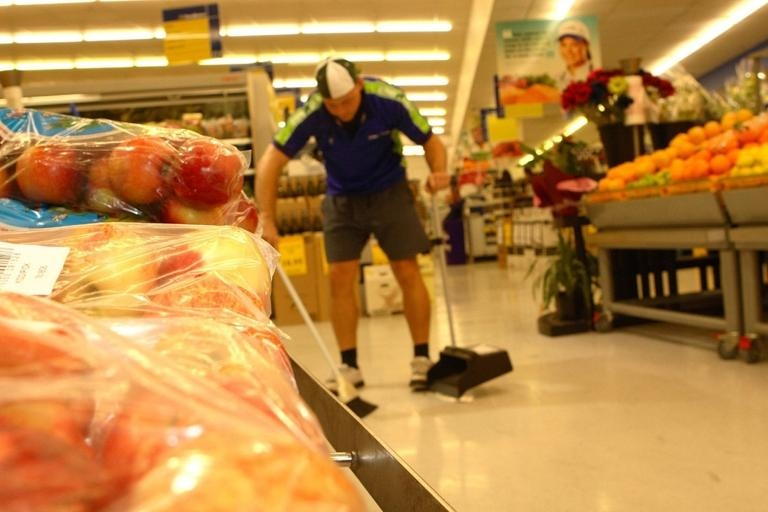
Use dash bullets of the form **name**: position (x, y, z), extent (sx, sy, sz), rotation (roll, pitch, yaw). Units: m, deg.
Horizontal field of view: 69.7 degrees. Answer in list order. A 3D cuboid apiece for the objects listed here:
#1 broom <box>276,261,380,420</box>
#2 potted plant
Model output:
- **broom**: position (-0.185, 0.273, 1.944), extent (0.098, 0.719, 0.168), rotation (-30, 39, 1)
- **potted plant**: position (0.682, 0.077, 2.003), extent (0.288, 0.313, 0.227), rotation (4, -4, -15)
